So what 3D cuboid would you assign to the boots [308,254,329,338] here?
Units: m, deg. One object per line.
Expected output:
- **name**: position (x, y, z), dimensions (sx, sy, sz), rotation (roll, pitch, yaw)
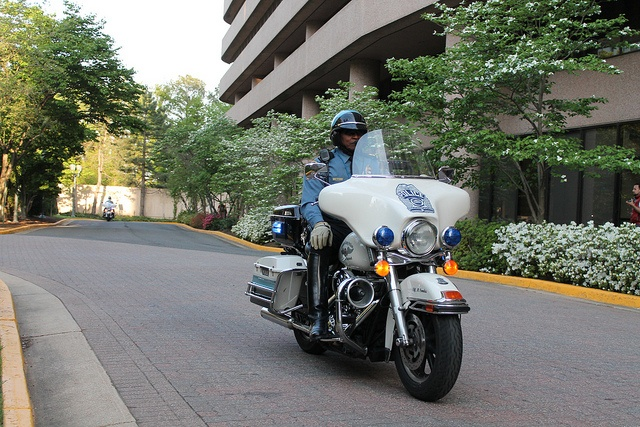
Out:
- **boots**: position (-0.020, 0.967, 6.410), dimensions (0.302, 0.905, 0.255), rotation (-8, -12, 33)
